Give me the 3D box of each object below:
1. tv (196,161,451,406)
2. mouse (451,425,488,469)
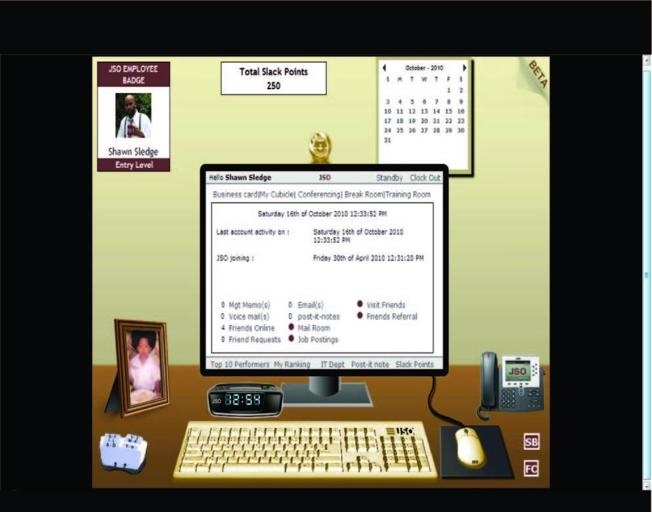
[{"bbox_3d":[-0.013,0.063,2.022,0.646,0.641,0.247,0,-3,-1],"label":"tv"},{"bbox_3d":[0.412,0.548,1.933,0.083,0.087,0.121,0,6,6],"label":"mouse"}]
